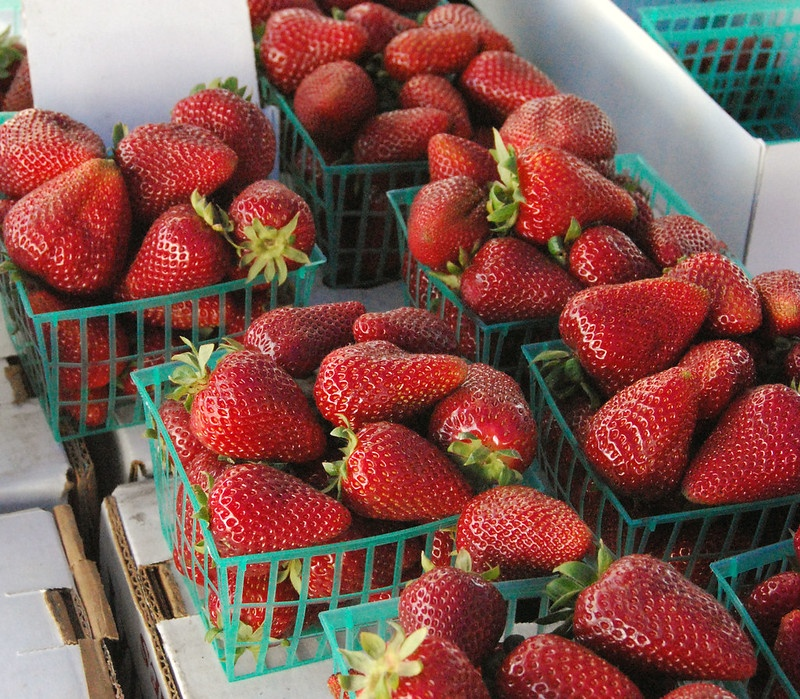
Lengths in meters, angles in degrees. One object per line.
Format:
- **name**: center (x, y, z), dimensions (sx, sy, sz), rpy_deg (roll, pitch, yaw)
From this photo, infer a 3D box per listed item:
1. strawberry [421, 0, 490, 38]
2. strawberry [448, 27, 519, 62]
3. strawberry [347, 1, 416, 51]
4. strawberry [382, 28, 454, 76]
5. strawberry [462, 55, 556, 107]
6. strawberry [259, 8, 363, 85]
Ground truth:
- **strawberry**: center (0.115, -0.702, 1.881), dimensions (0.117, 0.080, 0.090), rpy_deg (-15, 23, -38)
- **strawberry**: center (0.173, -0.628, 1.814), dimensions (0.122, 0.051, 0.073), rpy_deg (4, 27, -11)
- **strawberry**: center (-0.047, -0.687, 1.938), dimensions (0.129, 0.100, 0.086), rpy_deg (16, 60, -29)
- **strawberry**: center (0.029, -0.589, 1.762), dimensions (0.102, 0.091, 0.068), rpy_deg (-9, 33, -4)
- **strawberry**: center (0.209, -0.515, 1.767), dimensions (0.198, 0.102, 0.114), rpy_deg (16, 31, 19)
- **strawberry**: center (-0.185, -0.621, 1.877), dimensions (0.170, 0.141, 0.163), rpy_deg (-4, 76, 3)
